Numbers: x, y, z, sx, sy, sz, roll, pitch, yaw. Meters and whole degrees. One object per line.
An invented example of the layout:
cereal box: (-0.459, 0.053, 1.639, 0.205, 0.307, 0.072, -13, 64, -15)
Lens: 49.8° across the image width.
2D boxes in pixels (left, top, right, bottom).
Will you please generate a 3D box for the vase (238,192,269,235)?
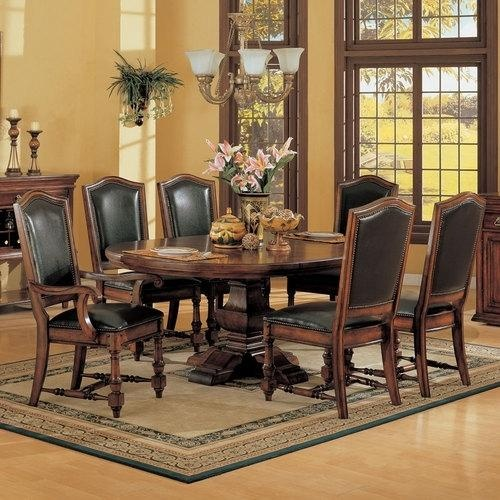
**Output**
vase: (0.019, -0.229, 3.267, 0.271, 0.280, 0.240, 0, -1, 2)

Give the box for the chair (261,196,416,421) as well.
chair: (0.430, 0.272, 2.675, 0.522, 1.036, 0.603, -2, 3, -43)

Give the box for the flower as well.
flower: (0.011, -0.501, 3.200, 0.465, 0.330, 0.436, 0, 2, 2)

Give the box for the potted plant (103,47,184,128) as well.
potted plant: (-1.308, -1.869, 6.289, 0.935, 0.660, 0.899, 6, 13, 29)
